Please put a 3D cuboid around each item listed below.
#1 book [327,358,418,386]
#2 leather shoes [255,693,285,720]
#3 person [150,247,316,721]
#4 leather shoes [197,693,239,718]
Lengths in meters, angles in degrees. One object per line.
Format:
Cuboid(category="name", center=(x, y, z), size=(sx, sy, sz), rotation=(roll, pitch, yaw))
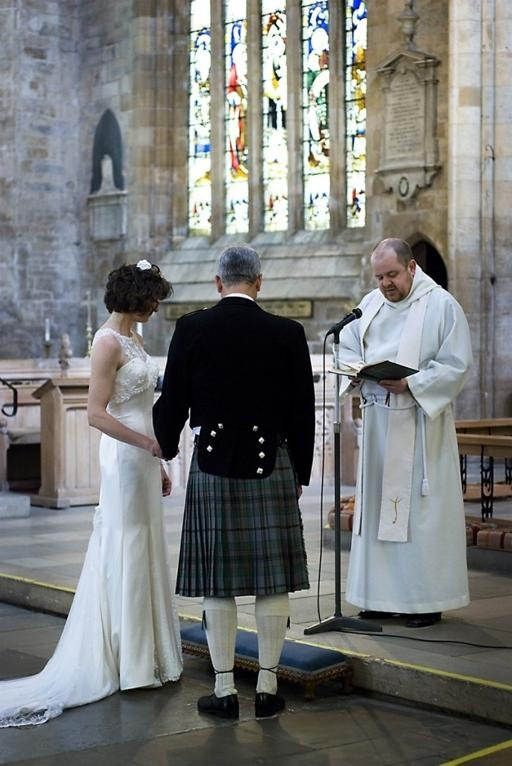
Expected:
Cuboid(category="book", center=(0.447, -0.044, 4.650), size=(0.277, 0.089, 0.313), rotation=(0, 3, 35))
Cuboid(category="leather shoes", center=(0.046, 1.016, 3.870), size=(0.044, 0.059, 0.131), rotation=(0, -2, 11))
Cuboid(category="person", center=(-0.056, 0.315, 3.867), size=(0.500, 1.483, 0.244), rotation=(-1, 2, -6))
Cuboid(category="leather shoes", center=(-0.111, 1.007, 3.881), size=(0.058, 0.067, 0.147), rotation=(6, -6, -31))
